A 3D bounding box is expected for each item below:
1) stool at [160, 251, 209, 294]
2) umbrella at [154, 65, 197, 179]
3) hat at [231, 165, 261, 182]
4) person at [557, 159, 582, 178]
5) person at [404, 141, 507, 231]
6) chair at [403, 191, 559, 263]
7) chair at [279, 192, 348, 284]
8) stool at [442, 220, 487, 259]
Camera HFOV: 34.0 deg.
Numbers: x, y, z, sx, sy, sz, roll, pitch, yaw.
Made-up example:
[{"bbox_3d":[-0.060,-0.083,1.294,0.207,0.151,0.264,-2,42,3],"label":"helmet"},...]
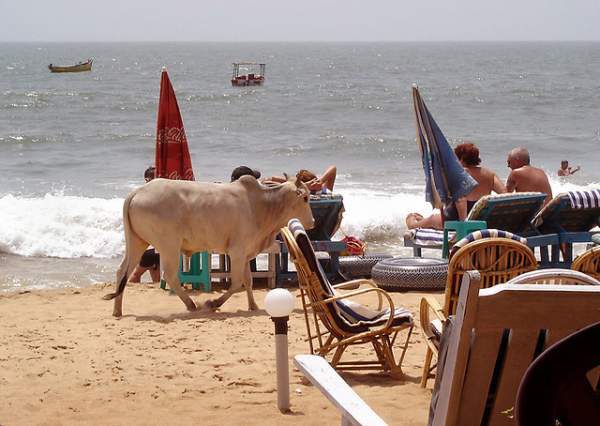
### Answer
[{"bbox_3d":[-1.831,0.951,16.307,0.670,0.700,0.688,0,-6,-3],"label":"stool"},{"bbox_3d":[-2.116,-1.462,16.161,0.616,1.806,1.091,-2,9,-7],"label":"umbrella"},{"bbox_3d":[-0.890,-0.648,16.389,0.432,0.257,0.280,-20,25,-30],"label":"hat"},{"bbox_3d":[8.685,-1.446,31.568,0.531,0.830,0.359,-9,50,6],"label":"person"},{"bbox_3d":[2.784,-0.513,17.425,2.088,1.460,0.966,-8,11,45],"label":"person"},{"bbox_3d":[3.088,0.198,16.102,0.990,0.963,1.513,-3,8,-29],"label":"chair"},{"bbox_3d":[0.196,0.354,17.021,1.386,1.634,1.138,0,1,-15],"label":"chair"},{"bbox_3d":[2.650,0.363,15.774,0.550,0.596,0.575,-5,10,-16],"label":"stool"}]
